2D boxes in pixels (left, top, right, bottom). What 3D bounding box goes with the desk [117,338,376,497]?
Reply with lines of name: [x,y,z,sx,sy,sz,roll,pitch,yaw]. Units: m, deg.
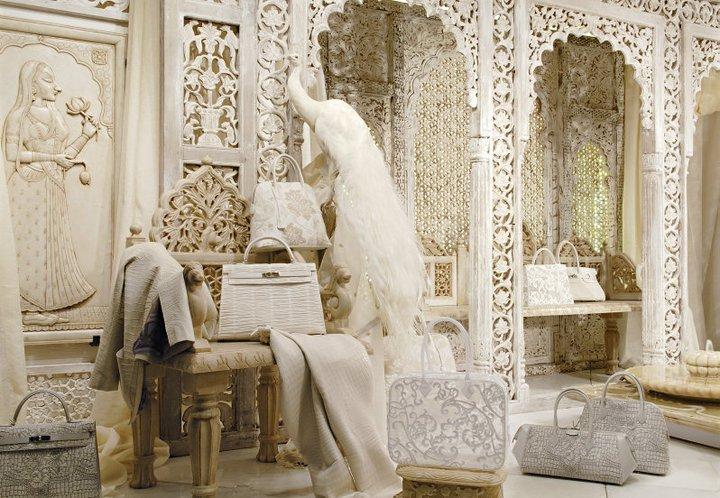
desk: [-1.006,0.979,5.239,0.945,0.912,0.933,3,-6,-35]

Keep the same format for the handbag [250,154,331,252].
handbag: [-0.510,-0.330,5.835,0.550,0.793,0.356,3,-22,-23]

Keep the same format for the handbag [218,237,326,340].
handbag: [-0.573,0.274,5.308,0.577,0.627,0.222,-1,1,-10]
